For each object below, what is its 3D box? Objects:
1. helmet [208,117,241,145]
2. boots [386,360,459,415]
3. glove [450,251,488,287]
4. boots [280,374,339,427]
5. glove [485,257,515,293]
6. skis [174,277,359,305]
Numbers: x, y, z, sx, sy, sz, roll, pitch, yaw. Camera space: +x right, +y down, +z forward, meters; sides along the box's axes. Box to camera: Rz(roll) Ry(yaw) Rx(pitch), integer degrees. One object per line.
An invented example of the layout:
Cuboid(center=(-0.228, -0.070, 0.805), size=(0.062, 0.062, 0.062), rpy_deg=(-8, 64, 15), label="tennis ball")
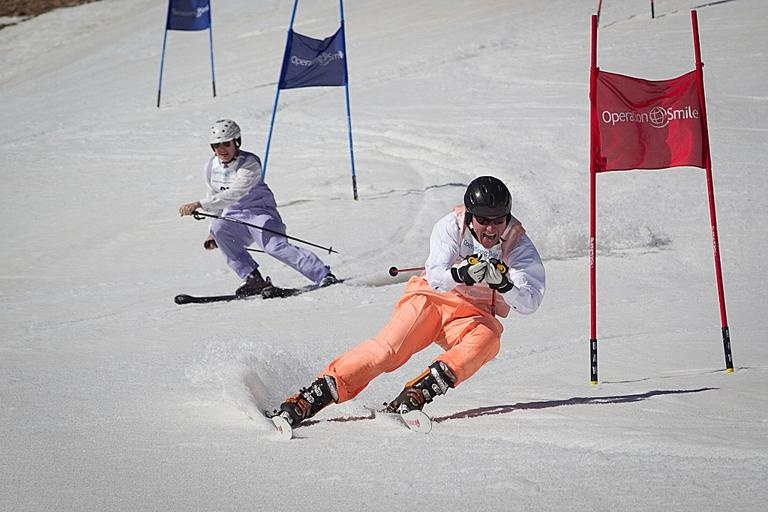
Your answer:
Cuboid(center=(-1.713, -1.248, 9.635), size=(0.348, 0.408, 0.376), rpy_deg=(3, 9, 5), label="helmet")
Cuboid(center=(0.288, 0.997, 7.006), size=(0.346, 0.507, 0.222), rpy_deg=(23, 21, -39), label="boots")
Cuboid(center=(0.658, 0.105, 6.884), size=(0.247, 0.109, 0.242), rpy_deg=(27, -24, -34), label="glove")
Cuboid(center=(-0.541, 1.097, 6.902), size=(0.497, 0.188, 0.301), rpy_deg=(-31, 49, -11), label="boots")
Cuboid(center=(0.871, 0.151, 6.809), size=(0.195, 0.247, 0.114), rpy_deg=(-11, 0, -30), label="glove")
Cuboid(center=(-1.200, 0.386, 9.695), size=(1.350, 0.068, 0.166), rpy_deg=(-5, 44, -3), label="skis")
